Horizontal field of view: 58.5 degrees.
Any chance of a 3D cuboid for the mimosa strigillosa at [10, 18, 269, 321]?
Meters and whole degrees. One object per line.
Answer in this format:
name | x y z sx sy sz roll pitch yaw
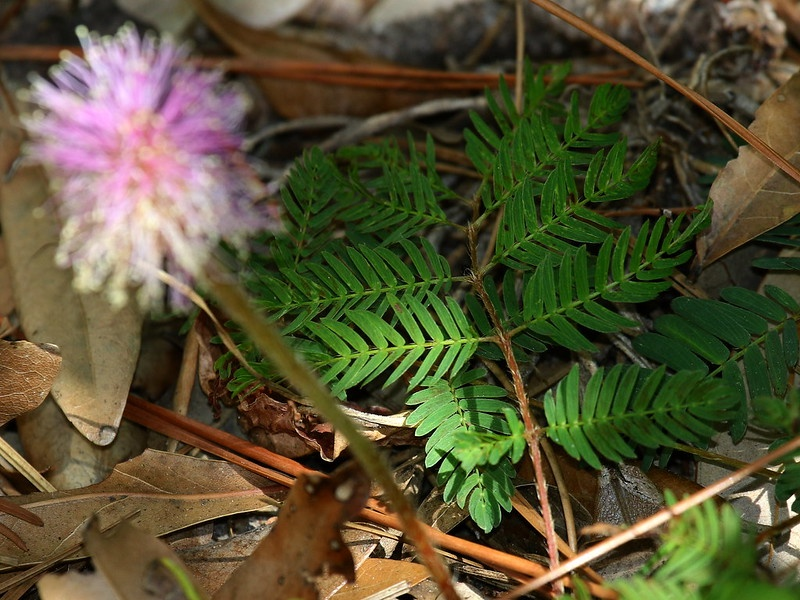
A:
mimosa strigillosa | -0.638 -0.325 1.809 0.576 0.514 0.607 -24 58 -24
